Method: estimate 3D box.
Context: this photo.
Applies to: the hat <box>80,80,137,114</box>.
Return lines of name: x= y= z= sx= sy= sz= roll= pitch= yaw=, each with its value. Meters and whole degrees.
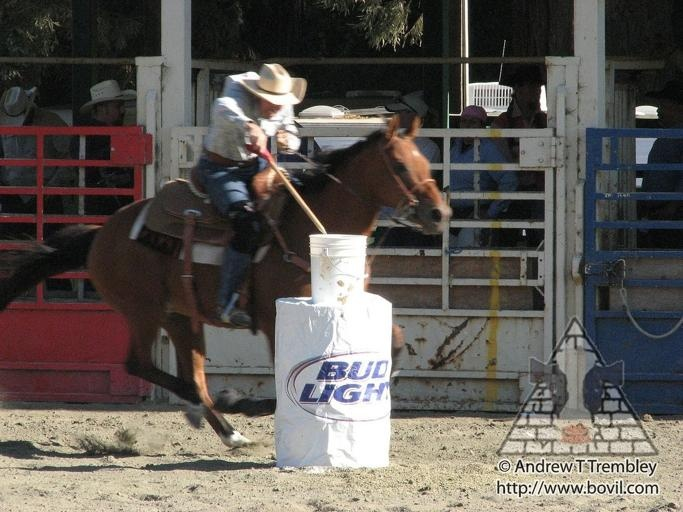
hat: x=-2.404 y=-1.627 z=16.782 sx=0.381 sy=0.161 sz=0.419 roll=-22 pitch=2 yaw=-12

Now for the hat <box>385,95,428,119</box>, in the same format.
hat: x=0.712 y=-1.595 z=17.414 sx=0.480 sy=0.243 sz=0.335 roll=14 pitch=-2 yaw=-5

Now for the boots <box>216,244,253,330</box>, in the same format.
boots: x=-0.915 y=0.345 z=14.339 sx=0.326 sy=0.208 sz=0.905 roll=-2 pitch=45 yaw=7

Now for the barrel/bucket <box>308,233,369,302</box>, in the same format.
barrel/bucket: x=-0.010 y=0.098 z=13.985 sx=0.546 sy=0.550 sz=0.516 roll=-1 pitch=5 yaw=0

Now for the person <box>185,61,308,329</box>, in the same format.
person: x=-0.836 y=-0.535 z=14.327 sx=0.831 sy=2.258 sz=0.408 roll=2 pitch=5 yaw=-6

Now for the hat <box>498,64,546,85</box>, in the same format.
hat: x=1.792 y=-1.786 z=16.371 sx=0.297 sy=0.180 sz=0.375 roll=-1 pitch=4 yaw=-18

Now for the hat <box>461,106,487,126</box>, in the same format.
hat: x=1.316 y=-1.372 z=16.366 sx=0.177 sy=0.249 sz=0.241 roll=2 pitch=-13 yaw=21

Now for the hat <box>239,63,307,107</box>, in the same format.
hat: x=-0.595 y=-1.578 z=14.190 sx=0.405 sy=0.163 sz=0.438 roll=-8 pitch=44 yaw=-38
